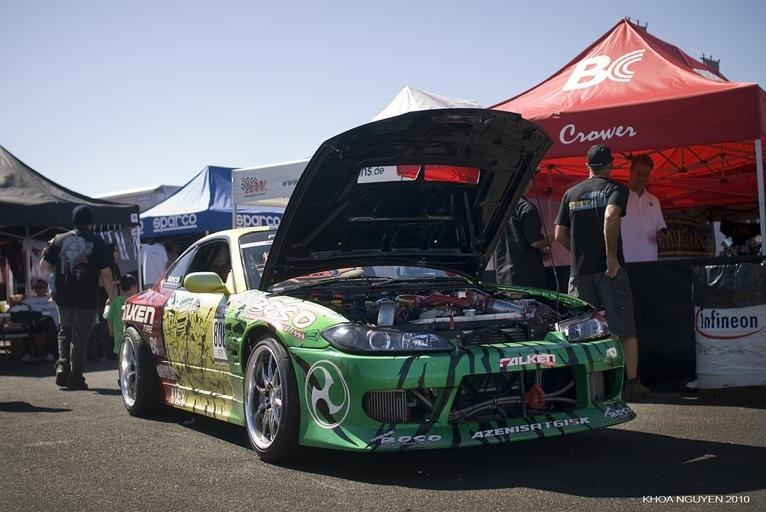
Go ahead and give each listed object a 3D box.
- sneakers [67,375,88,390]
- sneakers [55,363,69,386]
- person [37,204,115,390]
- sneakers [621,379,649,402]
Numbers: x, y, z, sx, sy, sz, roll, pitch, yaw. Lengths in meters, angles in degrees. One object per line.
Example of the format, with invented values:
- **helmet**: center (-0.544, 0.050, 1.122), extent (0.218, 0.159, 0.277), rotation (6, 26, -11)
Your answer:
- **sneakers**: center (-4.064, 1.661, 8.513), extent (0.244, 0.196, 0.184), rotation (-2, 0, -17)
- **sneakers**: center (-4.275, 1.570, 8.590), extent (0.140, 0.391, 0.165), rotation (0, -1, -1)
- **person**: center (-4.199, 0.571, 8.877), extent (0.834, 2.473, 0.599), rotation (1, -5, -9)
- **sneakers**: center (2.613, 1.387, 6.753), extent (0.379, 0.253, 0.141), rotation (-8, 6, -44)
